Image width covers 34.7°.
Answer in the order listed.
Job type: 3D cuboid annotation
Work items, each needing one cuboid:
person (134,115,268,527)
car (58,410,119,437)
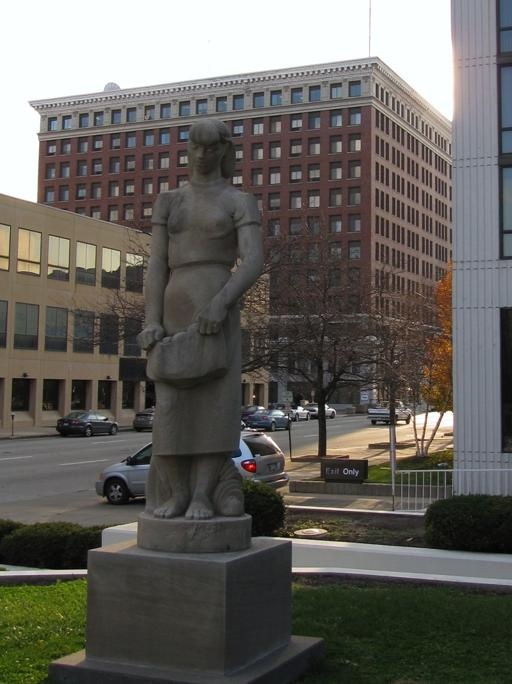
[{"bbox_3d":[-0.394,-0.234,5.768,0.864,2.845,0.670,0,-7,4],"label":"person"},{"bbox_3d":[-8.466,4.148,41.513,1.313,0.808,2.659,-1,1,36],"label":"car"}]
